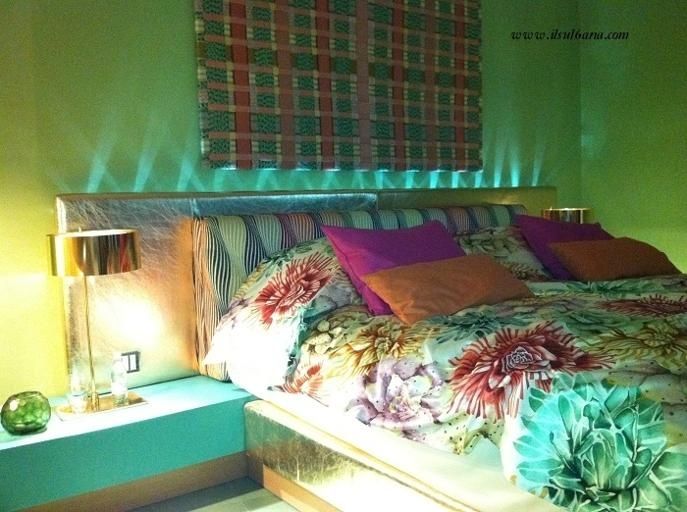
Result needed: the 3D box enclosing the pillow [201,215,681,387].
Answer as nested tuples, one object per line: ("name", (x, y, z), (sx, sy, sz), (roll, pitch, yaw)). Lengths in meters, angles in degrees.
("pillow", (0.239, 0.127, 2.453), (1.595, 0.327, 1.195), (-8, 8, -28))
